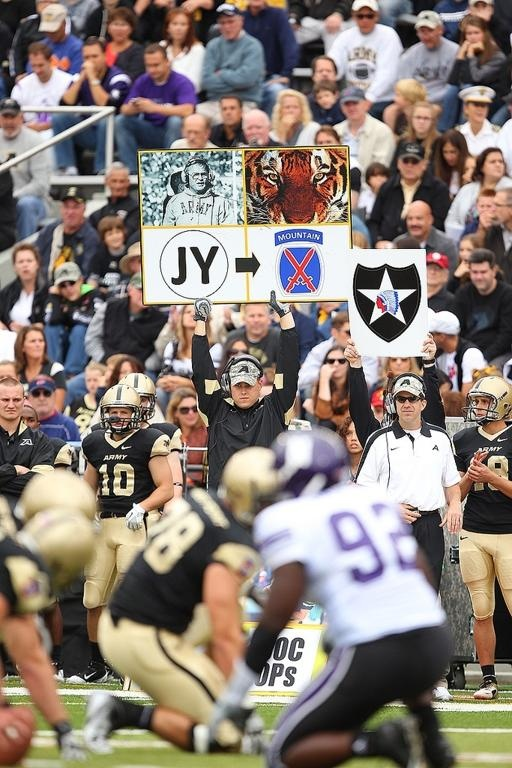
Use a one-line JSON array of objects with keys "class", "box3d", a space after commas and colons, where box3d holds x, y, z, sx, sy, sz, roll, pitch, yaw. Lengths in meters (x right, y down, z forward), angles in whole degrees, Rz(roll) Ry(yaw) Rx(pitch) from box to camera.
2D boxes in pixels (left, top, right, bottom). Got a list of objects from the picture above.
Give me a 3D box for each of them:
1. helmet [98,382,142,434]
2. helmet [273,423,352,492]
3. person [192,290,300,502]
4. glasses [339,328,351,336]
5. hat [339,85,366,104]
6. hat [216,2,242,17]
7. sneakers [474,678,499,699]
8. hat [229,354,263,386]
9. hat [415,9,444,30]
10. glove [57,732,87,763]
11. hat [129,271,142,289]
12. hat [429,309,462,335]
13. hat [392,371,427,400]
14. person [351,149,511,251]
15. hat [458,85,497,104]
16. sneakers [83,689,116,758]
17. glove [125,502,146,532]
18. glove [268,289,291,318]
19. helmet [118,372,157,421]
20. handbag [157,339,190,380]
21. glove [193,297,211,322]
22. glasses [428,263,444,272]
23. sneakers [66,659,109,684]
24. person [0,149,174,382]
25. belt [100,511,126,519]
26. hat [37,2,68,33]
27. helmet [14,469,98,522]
[{"class": "helmet", "box3d": [-0.816, 0.155, 6.342, 0.235, 0.242, 0.295, 0, 7, 2]}, {"class": "helmet", "box3d": [0.151, 0.217, 2.787, 0.191, 0.150, 0.140, 6, 49, 6]}, {"class": "person", "box3d": [-0.027, 0.353, 6.140, 0.610, 1.775, 0.390, -4, -26, 0]}, {"class": "glasses", "box3d": [0.687, -0.399, 8.081, 0.053, 0.069, 0.104, -3, 23, -6]}, {"class": "hat", "box3d": [0.970, -2.879, 10.355, 0.276, 0.153, 0.209, -9, 24, -21]}, {"class": "hat", "box3d": [-0.280, -3.867, 10.820, 0.207, 0.094, 0.318, 3, 17, 5]}, {"class": "sneakers", "box3d": [1.288, 1.733, 5.869, 0.065, 0.086, 0.193, -3, -9, 22]}, {"class": "hat", "box3d": [-0.070, -0.081, 6.105, 0.141, 0.117, 0.203, 3, -14, 2]}, {"class": "hat", "box3d": [1.844, -3.885, 11.101, 0.225, 0.168, 0.325, -7, 1, 21]}, {"class": "glove", "box3d": [-0.522, 1.045, 2.972, 0.053, 0.103, 0.024, -21, 9, 14]}, {"class": "hat", "box3d": [-1.014, -0.880, 8.808, 0.066, 0.133, 0.245, -8, 24, -16]}, {"class": "hat", "box3d": [1.411, -0.474, 7.926, 0.175, 0.123, 0.238, -16, 28, -39]}, {"class": "hat", "box3d": [0.878, 0.027, 6.045, 0.176, 0.200, 0.267, 2, 23, 6]}, {"class": "person", "box3d": [1.405, -1.721, 9.452, 0.779, 0.878, 0.469, -4, 23, -8]}, {"class": "hat", "box3d": [2.180, -2.869, 10.329, 0.356, 0.161, 0.553, 4, 23, 10]}, {"class": "sneakers", "box3d": [-0.489, 1.068, 3.276, 0.073, 0.211, 0.091, 2, -18, -8]}, {"class": "glove", "box3d": [-0.725, 0.788, 6.255, 0.067, 0.149, 0.119, 13, 41, -33]}, {"class": "glove", "box3d": [0.130, -0.481, 6.327, 0.125, 0.167, 0.081, -42, -4, -24]}, {"class": "helmet", "box3d": [-0.708, 0.073, 6.623, 0.243, 0.278, 0.292, -2, 0, 0]}, {"class": "handbag", "box3d": [-0.659, -0.204, 8.456, 0.340, 0.322, 0.188, 0, -5, 4]}, {"class": "glove", "box3d": [-0.335, -0.454, 6.347, 0.105, 0.138, 0.050, 5, -7, -20]}, {"class": "glasses", "box3d": [1.470, -0.954, 8.481, 0.069, 0.034, 0.107, 11, -10, 18]}, {"class": "sneakers", "box3d": [-1.011, 1.793, 6.472, 0.323, 0.133, 0.110, -2, -2, 13]}, {"class": "person", "box3d": [-1.369, -1.138, 9.754, 1.515, 2.020, 0.713, -3, -7, 10]}, {"class": "belt", "box3d": [-0.880, 0.813, 6.443, 0.091, 0.030, 0.067, -1, 0, 8]}, {"class": "hat", "box3d": [-2.282, -4.156, 11.872, 0.245, 0.380, 0.209, 11, -13, 14]}, {"class": "helmet", "box3d": [-0.636, 0.336, 3.265, 0.225, 0.167, 0.200, 5, -3, 12]}]
